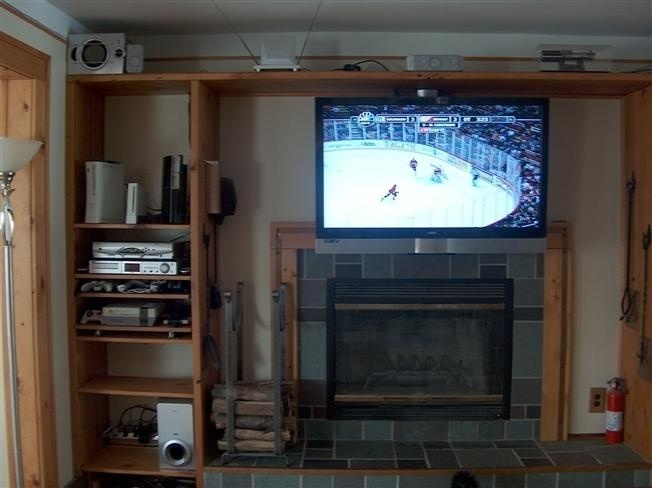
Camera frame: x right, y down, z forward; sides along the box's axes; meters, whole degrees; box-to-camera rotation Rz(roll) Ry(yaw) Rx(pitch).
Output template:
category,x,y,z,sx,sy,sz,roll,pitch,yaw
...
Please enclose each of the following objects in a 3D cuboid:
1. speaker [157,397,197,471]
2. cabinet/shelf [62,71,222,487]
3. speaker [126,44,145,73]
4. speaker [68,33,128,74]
category,x,y,z,sx,sy,sz,roll,pitch,yaw
speaker,-0.985,1.295,5.059,0.326,0.412,0.265,-5,-6,4
cabinet/shelf,-1.238,0.254,5.067,1.086,2.521,0.477,-2,1,-4
speaker,-1.290,-1.221,4.910,0.114,0.175,0.054,-2,1,-13
speaker,-1.489,-1.250,4.985,0.467,0.256,0.285,5,6,23
